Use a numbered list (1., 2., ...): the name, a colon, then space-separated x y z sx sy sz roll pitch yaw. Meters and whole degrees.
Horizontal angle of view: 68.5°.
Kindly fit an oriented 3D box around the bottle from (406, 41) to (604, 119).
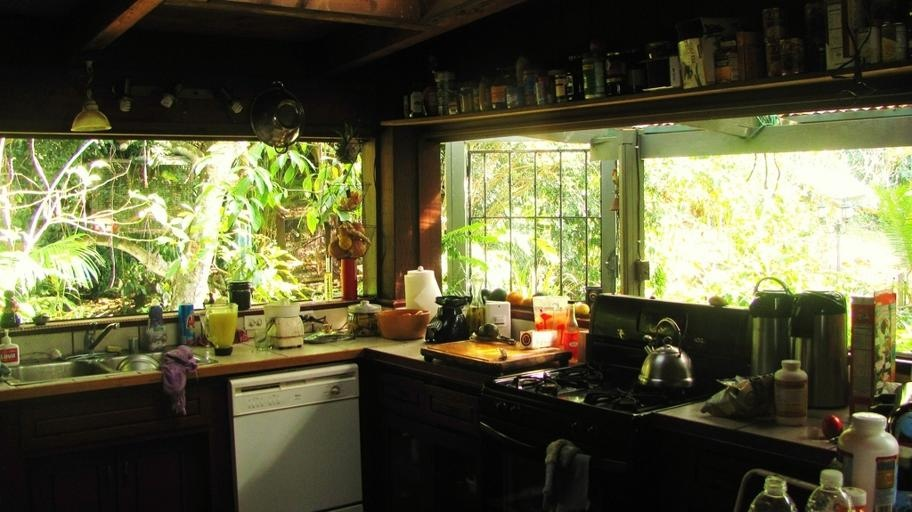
1. bottle: 0.345 -1.200 4.796 1.604 0.382 0.254 2 2 34

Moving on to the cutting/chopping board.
1. cutting/chopping board: 0.113 0.651 4.562 0.595 0.074 0.442 -6 2 -12

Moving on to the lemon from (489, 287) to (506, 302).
1. lemon: 0.305 0.293 5.033 0.105 0.081 0.110 0 24 -2

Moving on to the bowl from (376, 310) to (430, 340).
1. bowl: -0.399 0.528 5.139 0.536 0.176 0.495 -1 3 0

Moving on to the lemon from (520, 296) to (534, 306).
1. lemon: 0.520 0.340 4.975 0.073 0.068 0.183 1 2 0

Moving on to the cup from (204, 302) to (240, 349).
1. cup: -1.692 0.494 4.783 0.202 0.294 0.320 0 2 -22

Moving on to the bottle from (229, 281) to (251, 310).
1. bottle: -1.637 0.302 5.070 0.177 0.216 0.119 -1 2 -30

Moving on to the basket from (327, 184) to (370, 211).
1. basket: -0.901 -0.457 5.438 0.227 0.111 0.233 -28 14 -19

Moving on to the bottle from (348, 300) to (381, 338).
1. bottle: -0.719 0.479 5.231 0.293 0.255 0.276 0 -1 13

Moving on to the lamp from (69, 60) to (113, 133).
1. lamp: -2.489 -1.079 4.542 0.251 0.486 0.301 0 2 -28

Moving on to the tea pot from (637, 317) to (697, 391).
1. tea pot: 1.255 0.577 3.992 0.310 0.388 0.315 1 2 0

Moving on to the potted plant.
1. potted plant: 0.205 0.281 6.063 0.806 1.097 0.643 -3 -3 -4

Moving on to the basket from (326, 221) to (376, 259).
1. basket: -0.850 -0.116 5.417 0.334 0.278 0.315 3 -2 0

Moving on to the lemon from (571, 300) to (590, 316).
1. lemon: 0.877 0.369 4.726 0.125 0.103 0.108 0 -4 4

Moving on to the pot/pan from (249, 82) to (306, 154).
1. pot/pan: -1.341 -1.063 5.084 0.458 0.170 0.498 -7 -24 -4

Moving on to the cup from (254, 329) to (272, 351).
1. cup: -1.396 0.619 4.829 0.161 0.129 0.105 5 -6 2

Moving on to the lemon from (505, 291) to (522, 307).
1. lemon: 0.446 0.323 5.086 0.106 0.094 0.108 9 -12 -40

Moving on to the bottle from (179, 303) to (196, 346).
1. bottle: -1.961 0.495 4.838 0.095 0.286 0.055 0 1 -8

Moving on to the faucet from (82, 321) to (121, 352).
1. faucet: -2.486 0.559 4.670 0.135 0.192 0.175 1 2 19

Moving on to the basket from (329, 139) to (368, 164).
1. basket: -0.848 -0.827 5.406 0.140 0.202 0.308 2 3 36

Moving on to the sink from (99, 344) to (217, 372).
1. sink: -2.133 0.724 4.625 0.403 0.110 0.322 -7 13 -36
